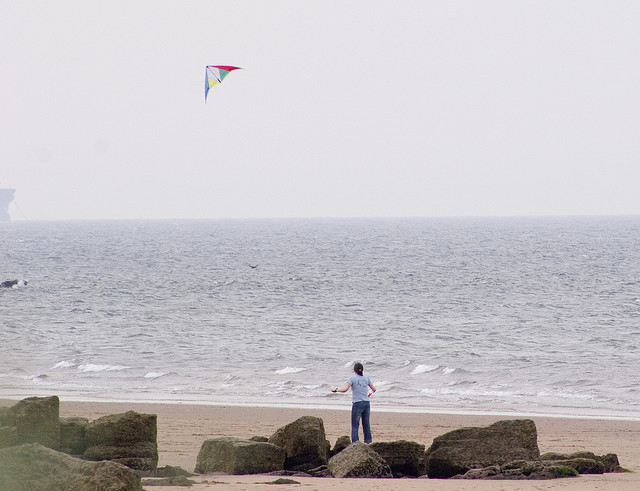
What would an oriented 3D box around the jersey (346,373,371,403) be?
[{"bbox_3d":[1.607,6.139,58.455,1.601,1.198,0.536,0,-6,-36],"label":"jersey"}]
